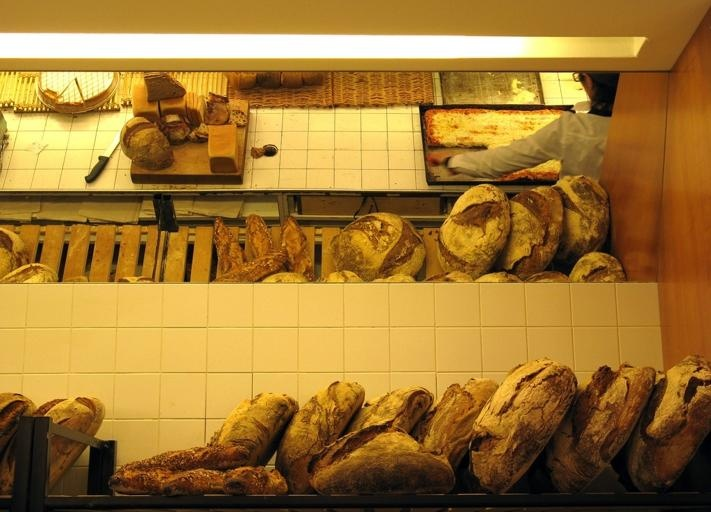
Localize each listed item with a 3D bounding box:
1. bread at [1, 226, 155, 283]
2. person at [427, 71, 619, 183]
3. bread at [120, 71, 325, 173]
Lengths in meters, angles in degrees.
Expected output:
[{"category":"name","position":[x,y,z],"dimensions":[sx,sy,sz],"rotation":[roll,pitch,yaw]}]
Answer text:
[{"category":"bread","position":[-1.217,-0.025,2.835],"dimensions":[0.402,0.419,0.086],"rotation":[0,-34,-2]},{"category":"person","position":[0.901,-0.571,3.195],"dimensions":[0.295,0.485,1.031],"rotation":[0,-4,-42]},{"category":"bread","position":[-0.927,-0.758,3.420],"dimensions":[0.586,0.624,0.259],"rotation":[1,-28,-6]}]
